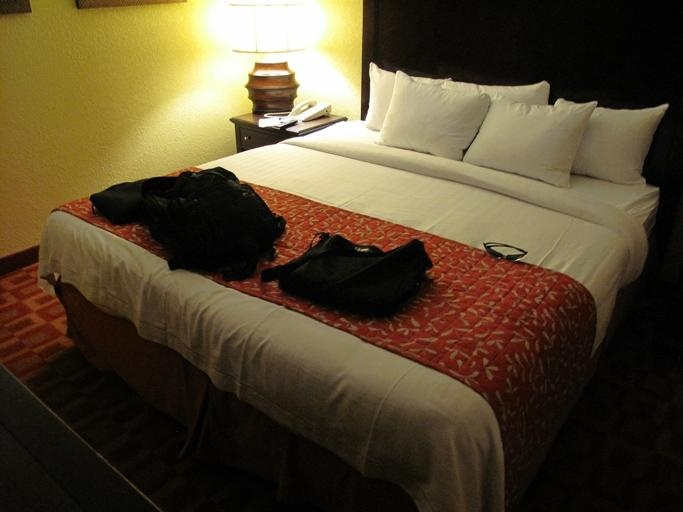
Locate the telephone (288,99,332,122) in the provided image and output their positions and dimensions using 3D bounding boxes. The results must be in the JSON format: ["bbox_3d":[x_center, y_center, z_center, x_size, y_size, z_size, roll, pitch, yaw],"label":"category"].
[{"bbox_3d":[-0.241,-1.086,3.706,0.256,0.091,0.234,-26,36,-35],"label":"telephone"}]

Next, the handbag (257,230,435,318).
[{"bbox_3d":[0.020,0.063,1.742,0.388,0.131,0.376,14,30,27],"label":"handbag"}]

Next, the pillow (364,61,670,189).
[{"bbox_3d":[0.847,-0.822,2.939,1.801,0.444,0.554,26,37,33],"label":"pillow"}]
